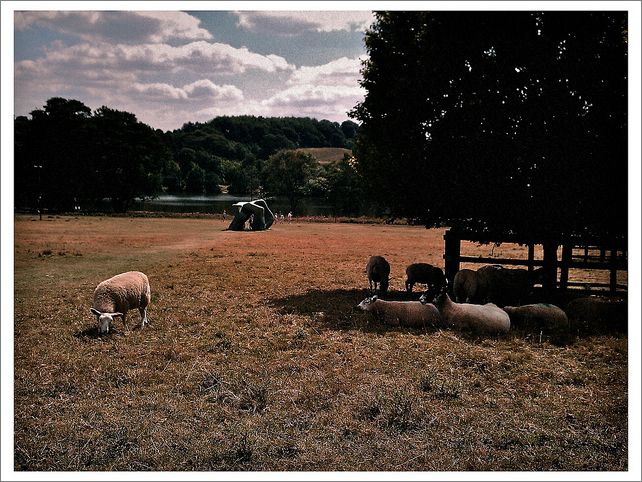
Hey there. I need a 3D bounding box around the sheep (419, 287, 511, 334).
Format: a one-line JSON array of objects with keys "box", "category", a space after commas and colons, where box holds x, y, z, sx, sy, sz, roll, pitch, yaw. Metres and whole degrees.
[{"box": [5.438, 2.696, 24.971, 2.398, 1.434, 1.240, 10, -15, 14], "category": "sheep"}]

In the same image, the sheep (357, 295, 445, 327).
[{"box": [2.947, 2.832, 25.861, 3.322, 1.622, 1.199, 4, 1, 14], "category": "sheep"}]

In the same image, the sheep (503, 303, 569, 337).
[{"box": [7.761, 2.757, 24.714, 1.352, 0.711, 1.136, 2, 5, 27], "category": "sheep"}]

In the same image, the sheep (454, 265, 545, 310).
[{"box": [6.650, 1.699, 26.277, 3.450, 2.187, 1.323, -1, 3, 1], "category": "sheep"}]
